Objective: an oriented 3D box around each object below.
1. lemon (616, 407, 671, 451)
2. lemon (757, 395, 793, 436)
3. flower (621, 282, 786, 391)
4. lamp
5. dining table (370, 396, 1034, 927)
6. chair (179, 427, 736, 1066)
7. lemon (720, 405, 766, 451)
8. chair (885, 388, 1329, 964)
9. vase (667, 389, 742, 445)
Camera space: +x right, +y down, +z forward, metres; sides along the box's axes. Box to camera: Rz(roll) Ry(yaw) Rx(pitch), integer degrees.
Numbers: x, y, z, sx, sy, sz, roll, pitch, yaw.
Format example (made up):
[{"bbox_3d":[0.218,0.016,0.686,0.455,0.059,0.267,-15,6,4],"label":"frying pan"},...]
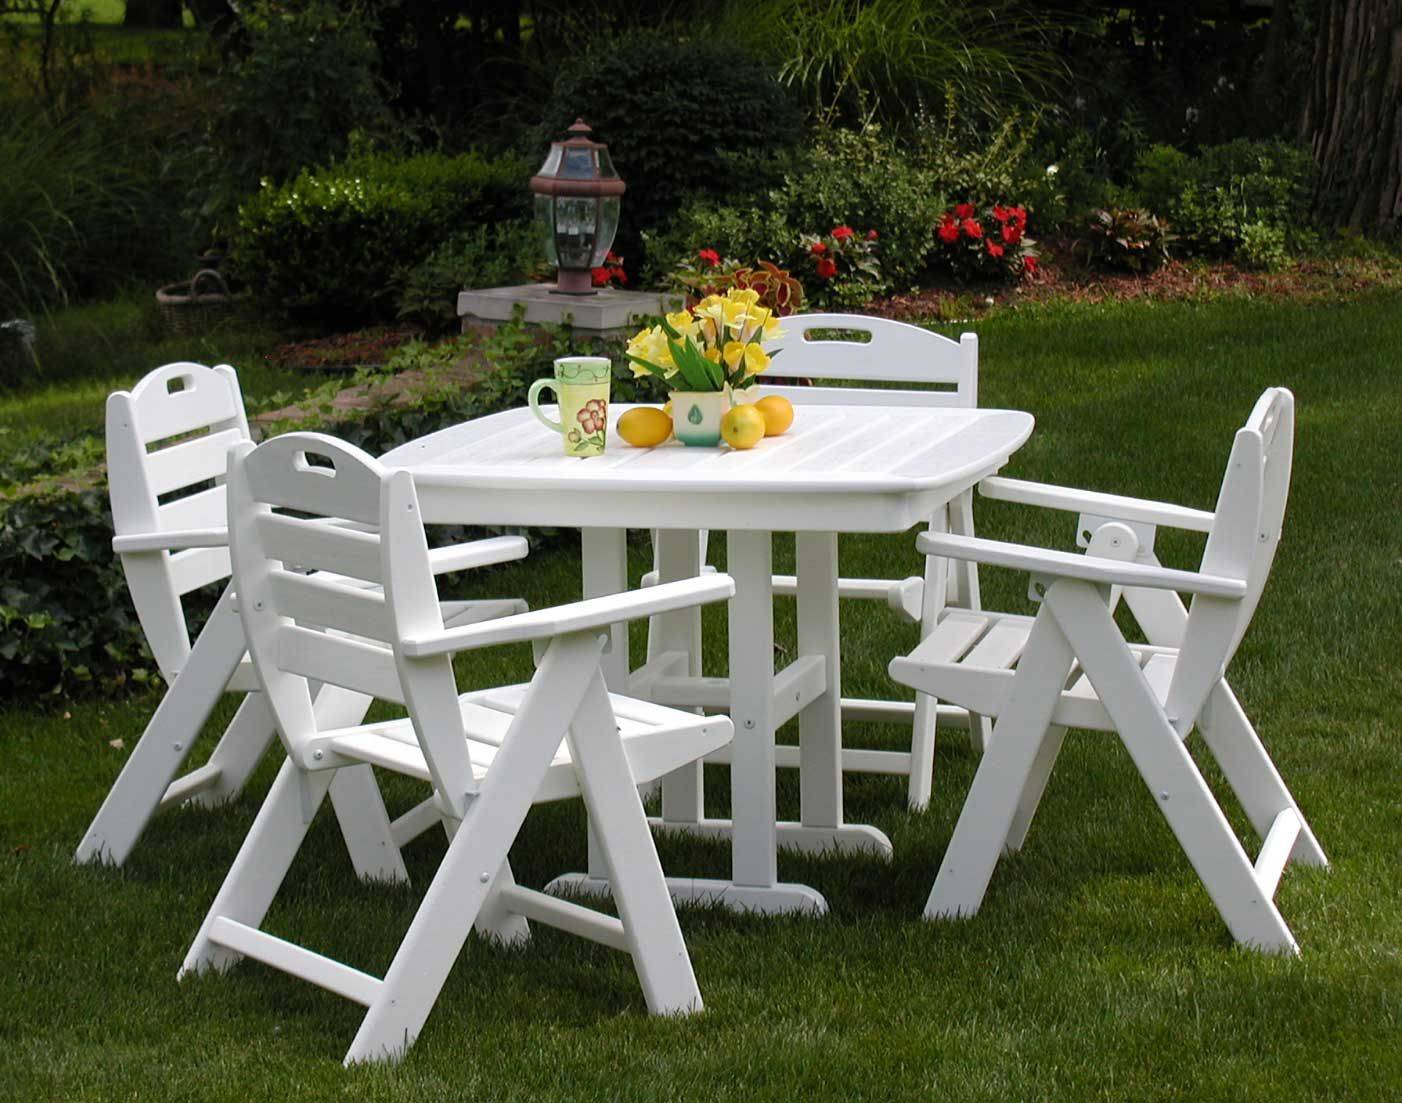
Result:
[{"bbox_3d":[-0.143,-0.323,4.310,0.116,0.111,0.093,-4,8,-22],"label":"lemon"},{"bbox_3d":[0.203,-0.360,4.453,0.083,0.112,0.091,-5,0,-36],"label":"lemon"},{"bbox_3d":[0.019,-0.527,4.400,0.243,0.255,0.309,17,-4,5],"label":"flower"},{"bbox_3d":[-0.652,-1.864,8.963,0.396,0.945,0.480,9,17,23],"label":"lamp"},{"bbox_3d":[0.017,0.097,4.264,1.187,1.140,1.355,2,9,16],"label":"dining table"},{"bbox_3d":[-0.583,0.361,4.268,1.267,1.785,1.072,-5,9,-38],"label":"chair"},{"bbox_3d":[0.116,-0.316,4.269,0.089,0.117,0.101,0,3,17],"label":"lemon"},{"bbox_3d":[1.033,0.192,4.665,1.165,1.691,1.076,3,8,17],"label":"chair"},{"bbox_3d":[0.001,-0.349,4.364,0.117,0.120,0.142,1,6,12],"label":"vase"}]
